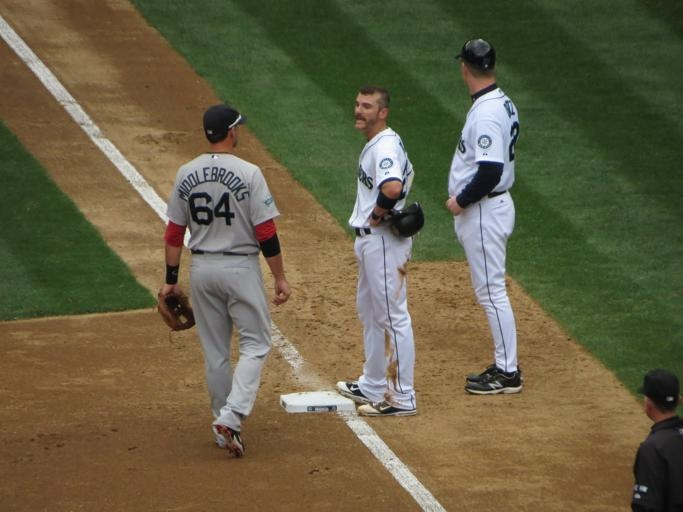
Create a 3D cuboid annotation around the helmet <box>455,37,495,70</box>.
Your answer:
[{"bbox_3d":[1.208,-1.870,11.499,0.316,0.201,0.413,-17,34,-27],"label":"helmet"}]

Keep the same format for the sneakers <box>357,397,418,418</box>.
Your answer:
[{"bbox_3d":[0.399,1.379,11.293,0.540,0.201,0.177,3,-5,-5],"label":"sneakers"}]

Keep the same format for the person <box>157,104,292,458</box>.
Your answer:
[{"bbox_3d":[-1.019,0.183,10.804,0.970,2.913,0.699,8,9,39],"label":"person"}]

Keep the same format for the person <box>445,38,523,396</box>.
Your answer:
[{"bbox_3d":[1.346,-0.338,11.475,0.773,3.208,0.422,3,7,4],"label":"person"}]

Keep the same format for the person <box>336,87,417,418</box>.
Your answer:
[{"bbox_3d":[0.352,-0.029,11.220,0.488,2.898,0.644,-2,8,-31],"label":"person"}]

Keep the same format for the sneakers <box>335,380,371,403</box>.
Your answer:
[{"bbox_3d":[0.085,1.236,11.392,0.353,0.156,0.133,32,4,11],"label":"sneakers"}]

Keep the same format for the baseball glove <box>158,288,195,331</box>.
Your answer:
[{"bbox_3d":[-1.460,0.488,10.992,0.291,0.368,0.167,-29,-3,-12],"label":"baseball glove"}]

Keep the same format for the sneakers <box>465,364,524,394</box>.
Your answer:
[{"bbox_3d":[1.403,1.139,11.505,0.373,0.155,0.281,1,-1,0],"label":"sneakers"}]

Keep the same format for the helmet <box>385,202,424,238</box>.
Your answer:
[{"bbox_3d":[0.586,-0.291,11.043,0.254,0.214,0.338,-30,10,-28],"label":"helmet"}]

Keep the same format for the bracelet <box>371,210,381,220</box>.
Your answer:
[{"bbox_3d":[0.296,-0.338,10.981,0.071,0.050,0.056,7,-5,9],"label":"bracelet"}]

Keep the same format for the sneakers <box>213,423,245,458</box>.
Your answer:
[{"bbox_3d":[-0.905,1.554,10.629,0.164,0.195,0.436,6,-28,18],"label":"sneakers"}]

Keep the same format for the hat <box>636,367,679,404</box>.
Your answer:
[{"bbox_3d":[2.441,1.010,9.640,0.218,0.152,0.283,-4,27,-3],"label":"hat"}]

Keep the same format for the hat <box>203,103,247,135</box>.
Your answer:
[{"bbox_3d":[-1.019,-1.165,10.795,0.439,0.231,0.330,-17,16,-35],"label":"hat"}]
